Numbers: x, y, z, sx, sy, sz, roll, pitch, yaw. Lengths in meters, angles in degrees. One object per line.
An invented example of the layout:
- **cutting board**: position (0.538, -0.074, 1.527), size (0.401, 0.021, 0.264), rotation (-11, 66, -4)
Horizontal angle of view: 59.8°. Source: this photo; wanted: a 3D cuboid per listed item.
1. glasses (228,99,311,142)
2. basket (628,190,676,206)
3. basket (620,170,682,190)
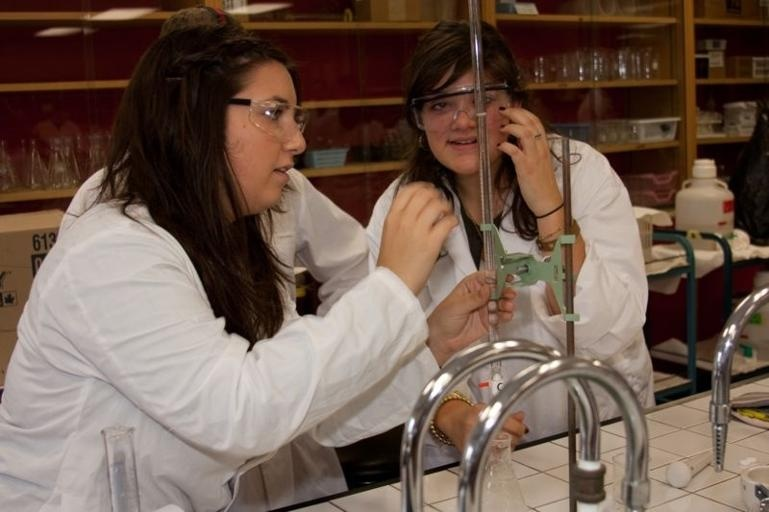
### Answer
- **glasses**: position (-0.302, -0.367, 1.713), size (0.116, 0.043, 0.118), rotation (17, 1, 30)
- **basket**: position (1.829, -0.392, 4.563), size (0.162, 0.090, 0.229), rotation (-3, 8, -21)
- **basket**: position (1.805, -0.509, 4.536), size (0.231, 0.091, 0.185), rotation (-1, 2, 7)
